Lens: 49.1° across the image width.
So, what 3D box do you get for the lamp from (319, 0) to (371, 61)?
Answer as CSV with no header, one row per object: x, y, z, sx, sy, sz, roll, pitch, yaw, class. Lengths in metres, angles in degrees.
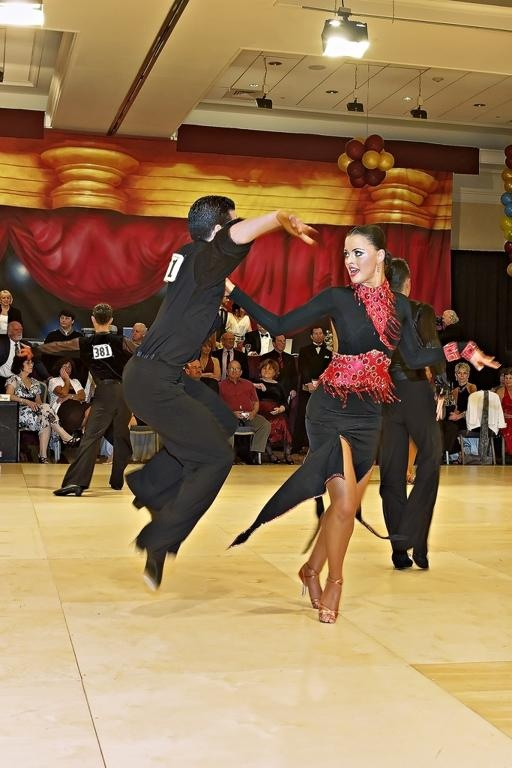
1.015,-4.036,6.388,0.506,0.508,0.432,3,1,-5,lamp

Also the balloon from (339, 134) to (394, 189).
1.882,-3.684,9.678,0.967,0.712,0.937,-2,8,6,balloon

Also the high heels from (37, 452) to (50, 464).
-3.444,1.205,9.015,0.176,0.160,0.464,2,-5,-30,high heels

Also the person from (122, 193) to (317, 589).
-0.246,0.077,2.475,0.898,1.358,0.409,5,2,38,person

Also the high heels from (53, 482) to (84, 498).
-2.017,1.145,6.022,0.345,0.152,0.122,3,-23,-2,high heels

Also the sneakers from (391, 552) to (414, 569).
0.889,1.079,3.400,0.061,0.118,0.174,2,-11,-23,sneakers

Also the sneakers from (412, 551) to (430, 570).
1.001,1.072,3.385,0.073,0.131,0.092,-7,-3,2,sneakers

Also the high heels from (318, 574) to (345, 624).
0.306,0.893,2.267,0.067,0.081,0.215,0,3,8,high heels

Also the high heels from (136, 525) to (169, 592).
-0.445,0.768,2.490,0.141,0.334,0.107,2,5,29,high heels

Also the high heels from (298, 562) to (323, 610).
0.226,0.891,2.528,0.078,0.219,0.088,-17,-3,-28,high heels
